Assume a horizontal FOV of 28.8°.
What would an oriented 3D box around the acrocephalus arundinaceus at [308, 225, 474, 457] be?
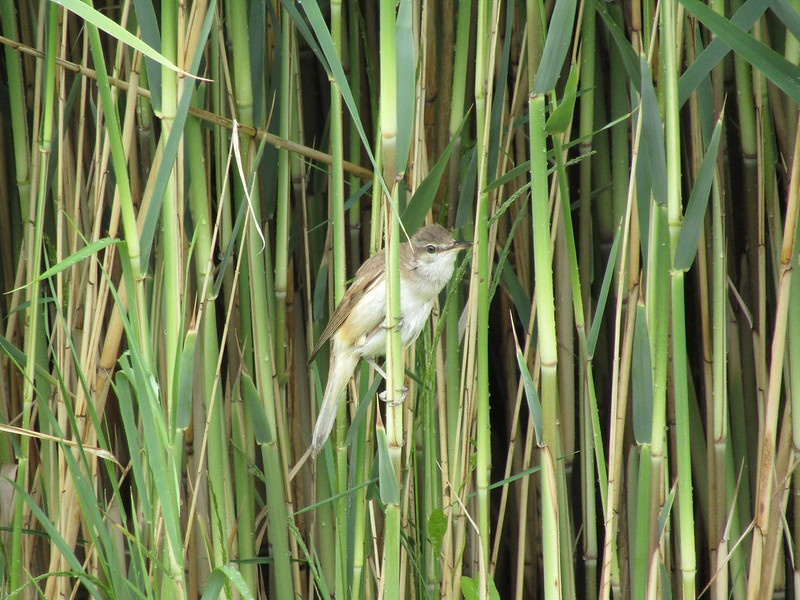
[{"bbox_3d":[-0.090,0.137,5.310,0.607,0.847,0.208,3,-8,37],"label":"acrocephalus arundinaceus"}]
